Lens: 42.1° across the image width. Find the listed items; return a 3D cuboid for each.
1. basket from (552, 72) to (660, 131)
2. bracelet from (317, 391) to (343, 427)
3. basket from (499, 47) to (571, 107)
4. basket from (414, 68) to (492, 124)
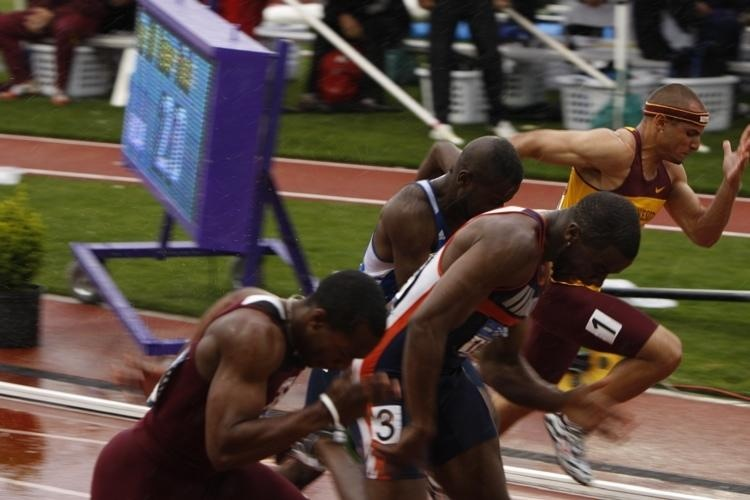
[{"bbox_3d":[2.768,-1.732,11.491,1.169,0.428,0.689,1,7,-9],"label":"basket"},{"bbox_3d":[-0.198,0.773,4.682,0.041,0.140,0.116,-36,11,-2],"label":"bracelet"},{"bbox_3d":[2.020,-2.345,12.830,1.009,0.715,0.828,-14,25,-18],"label":"basket"},{"bbox_3d":[0.935,-1.919,12.329,0.926,0.525,0.804,-5,14,-12],"label":"basket"}]
